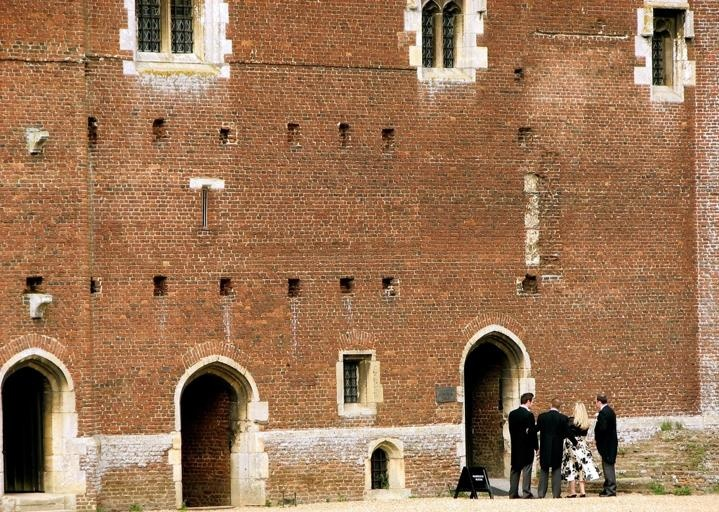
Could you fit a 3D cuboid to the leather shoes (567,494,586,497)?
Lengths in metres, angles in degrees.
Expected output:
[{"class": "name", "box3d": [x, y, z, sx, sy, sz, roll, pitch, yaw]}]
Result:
[{"class": "leather shoes", "box3d": [5.243, 5.837, 49.961, 0.386, 0.116, 0.143, 1, 0, 19]}]

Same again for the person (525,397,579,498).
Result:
[{"class": "person", "box3d": [4.715, 4.807, 49.736, 0.931, 2.055, 0.846, -2, -11, 7]}]
